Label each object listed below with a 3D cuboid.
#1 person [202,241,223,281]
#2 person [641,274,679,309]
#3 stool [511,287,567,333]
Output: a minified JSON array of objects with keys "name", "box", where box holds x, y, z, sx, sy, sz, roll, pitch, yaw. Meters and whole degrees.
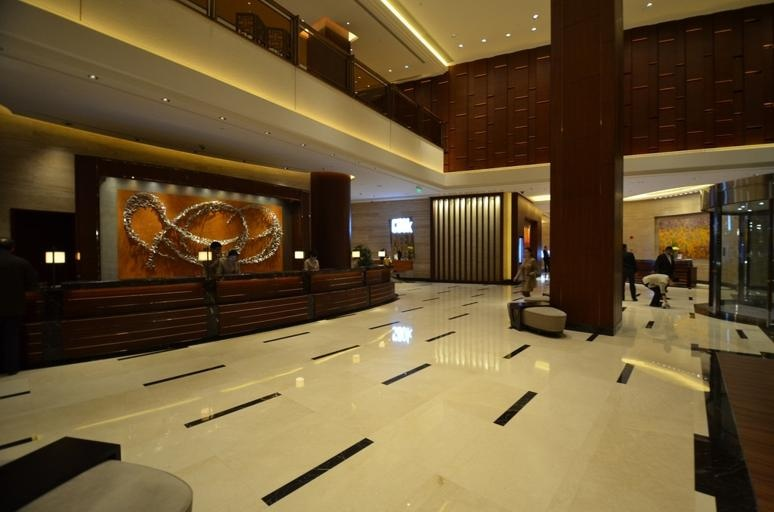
[{"name":"person","box":[-3.660,0.098,10.138,0.563,0.866,0.347,26,24,31]},{"name":"person","box":[7.111,0.814,12.468,0.923,1.265,0.715,1,11,31]},{"name":"stool","box":[3.075,1.268,9.774,0.701,0.535,1.204,-7,13,-30]}]
